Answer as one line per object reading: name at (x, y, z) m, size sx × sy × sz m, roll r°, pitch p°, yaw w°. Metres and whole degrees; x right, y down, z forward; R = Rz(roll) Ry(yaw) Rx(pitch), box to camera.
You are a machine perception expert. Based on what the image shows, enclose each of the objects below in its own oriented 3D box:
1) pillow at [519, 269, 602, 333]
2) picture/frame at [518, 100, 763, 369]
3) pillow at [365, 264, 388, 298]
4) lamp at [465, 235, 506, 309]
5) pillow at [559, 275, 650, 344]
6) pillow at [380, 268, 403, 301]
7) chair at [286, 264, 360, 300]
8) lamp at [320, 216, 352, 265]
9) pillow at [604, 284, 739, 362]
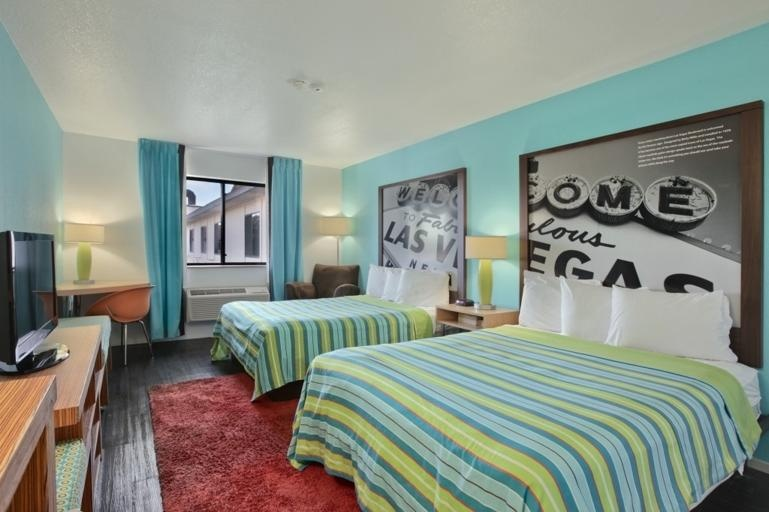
pillow at (1.475, 0.438, 4.329) m, size 0.526 × 0.522 × 0.202 m, roll 6°, pitch -9°, yaw 39°
picture/frame at (2.127, -0.159, 3.809) m, size 0.177 × 2.188 × 2.355 m, roll 4°, pitch -4°, yaw -37°
pillow at (-0.125, 0.338, 6.187) m, size 0.143 × 0.354 × 0.358 m, roll 17°, pitch -10°, yaw -30°
lamp at (1.053, 0.158, 4.875) m, size 0.396 × 0.750 × 0.234 m, roll 0°, pitch 2°, yaw -23°
pillow at (1.656, 0.461, 3.861) m, size 0.135 × 0.436 × 0.466 m, roll 4°, pitch 6°, yaw -40°
pillow at (0.088, 0.357, 5.878) m, size 0.101 × 0.367 × 0.343 m, roll 14°, pitch -7°, yaw -22°
chair at (-0.918, 0.372, 6.997) m, size 1.086 × 0.493 × 0.477 m, roll 1°, pitch 1°, yaw -12°
lamp at (-0.789, -0.268, 7.330) m, size 0.489 × 0.805 × 0.496 m, roll 1°, pitch 2°, yaw -17°
pillow at (2.185, 0.534, 3.597) m, size 0.236 × 0.535 × 0.890 m, roll 17°, pitch -18°, yaw -31°
